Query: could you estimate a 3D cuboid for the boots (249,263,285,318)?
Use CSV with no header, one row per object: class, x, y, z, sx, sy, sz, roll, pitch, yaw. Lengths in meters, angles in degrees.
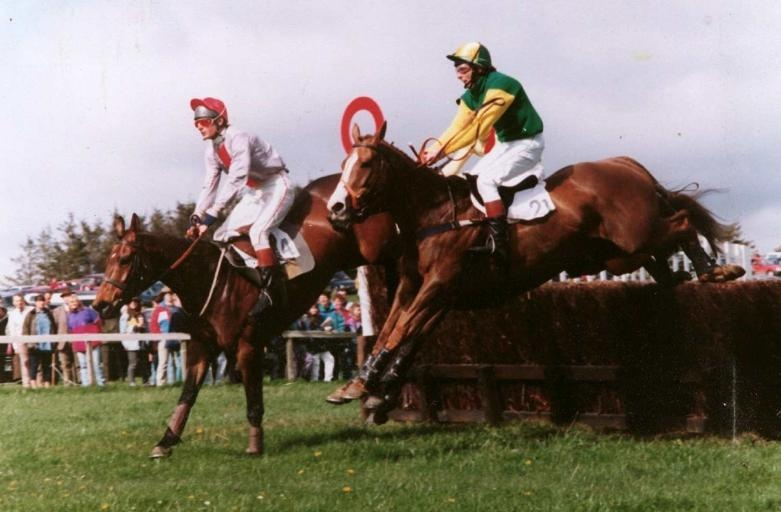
boots,-1.324,0.364,9.559,0.185,0.522,0.427,0,5,31
